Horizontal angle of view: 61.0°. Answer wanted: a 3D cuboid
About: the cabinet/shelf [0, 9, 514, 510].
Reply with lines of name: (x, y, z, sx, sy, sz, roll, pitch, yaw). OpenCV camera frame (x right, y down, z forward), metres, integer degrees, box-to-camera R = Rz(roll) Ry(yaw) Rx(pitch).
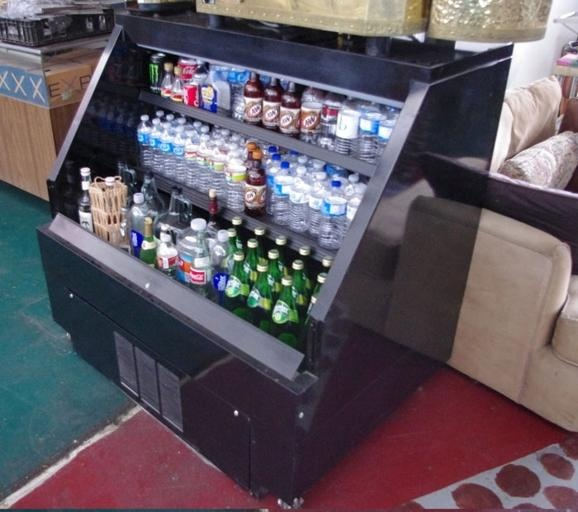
cabinet/shelf: (-0.168, -0.140, 2.241, 1.691, 1.726, 1.238, 26, 32, 32)
